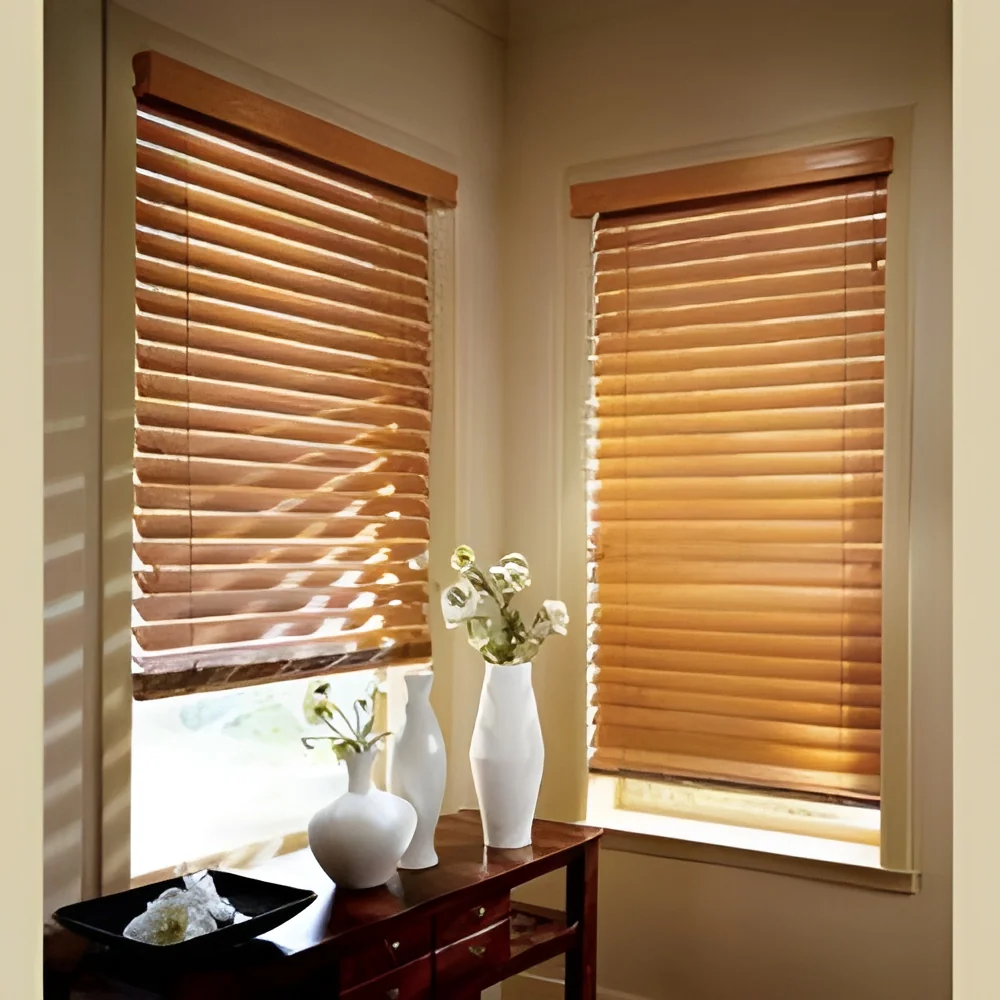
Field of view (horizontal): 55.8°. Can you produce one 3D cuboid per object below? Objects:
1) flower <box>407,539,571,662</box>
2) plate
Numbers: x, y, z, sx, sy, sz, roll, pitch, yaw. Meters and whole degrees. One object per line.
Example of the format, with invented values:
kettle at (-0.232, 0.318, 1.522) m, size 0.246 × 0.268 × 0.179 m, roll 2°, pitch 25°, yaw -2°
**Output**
flower at (-0.036, 0.283, 2.625) m, size 0.254 × 0.315 × 0.307 m, roll -15°, pitch -14°, yaw 29°
plate at (-0.554, 0.718, 1.662) m, size 0.185 × 0.046 × 0.259 m, roll 1°, pitch -4°, yaw 36°
